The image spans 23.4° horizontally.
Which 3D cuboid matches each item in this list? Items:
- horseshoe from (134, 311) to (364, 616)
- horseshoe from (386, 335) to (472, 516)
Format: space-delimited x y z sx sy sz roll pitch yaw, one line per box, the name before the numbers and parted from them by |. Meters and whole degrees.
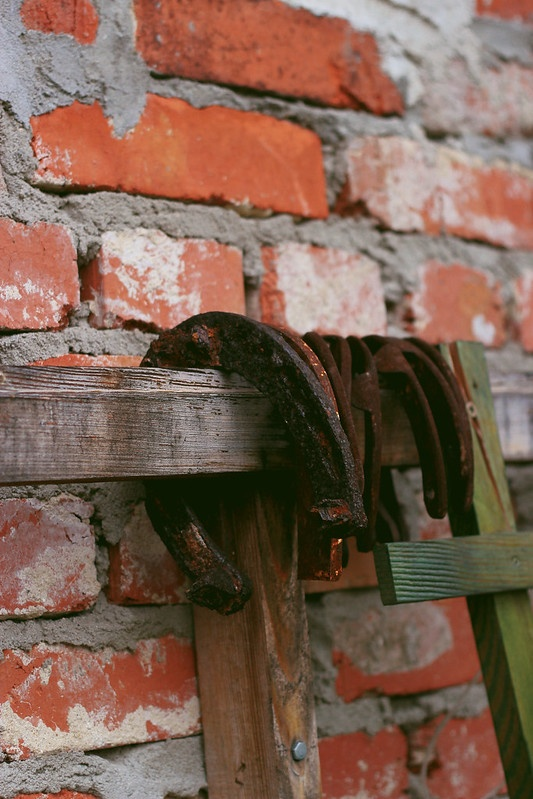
horseshoe | -0.026 0.078 1.159 0.159 0.313 0.232 1 42 -15
horseshoe | 0.173 0.024 1.236 0.030 0.103 0.143 -6 74 -22
